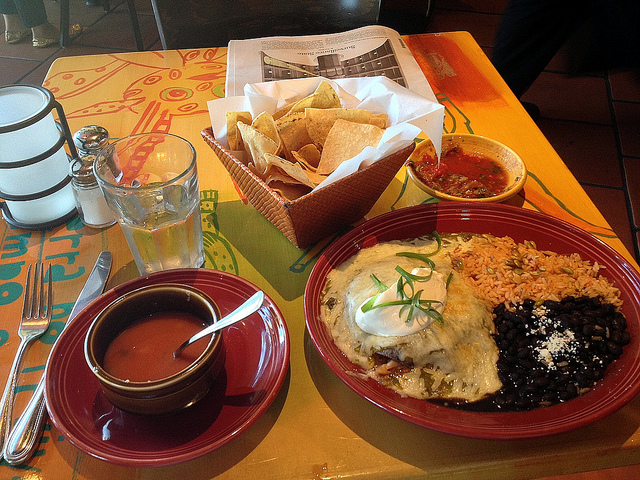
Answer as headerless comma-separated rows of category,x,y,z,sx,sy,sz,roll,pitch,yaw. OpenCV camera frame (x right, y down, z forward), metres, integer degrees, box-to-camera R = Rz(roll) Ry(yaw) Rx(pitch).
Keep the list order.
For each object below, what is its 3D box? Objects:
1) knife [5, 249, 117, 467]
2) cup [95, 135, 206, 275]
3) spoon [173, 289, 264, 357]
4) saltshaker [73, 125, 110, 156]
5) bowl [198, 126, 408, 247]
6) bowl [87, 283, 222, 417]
knife,-0.490,0.213,0.926,0.057,0.035,0.431,-1,47,18
cup,-0.369,-0.107,1.051,0.197,0.243,0.325,-22,57,-18
spoon,-0.138,0.132,0.781,0.024,0.021,0.155,43,32,1
saltshaker,-0.543,-0.230,1.110,0.070,0.076,0.070,1,50,-6
bowl,-0.066,-0.195,1.053,0.304,0.160,0.364,-29,48,-27
bowl,-0.274,0.208,0.831,0.217,0.135,0.230,0,54,0
